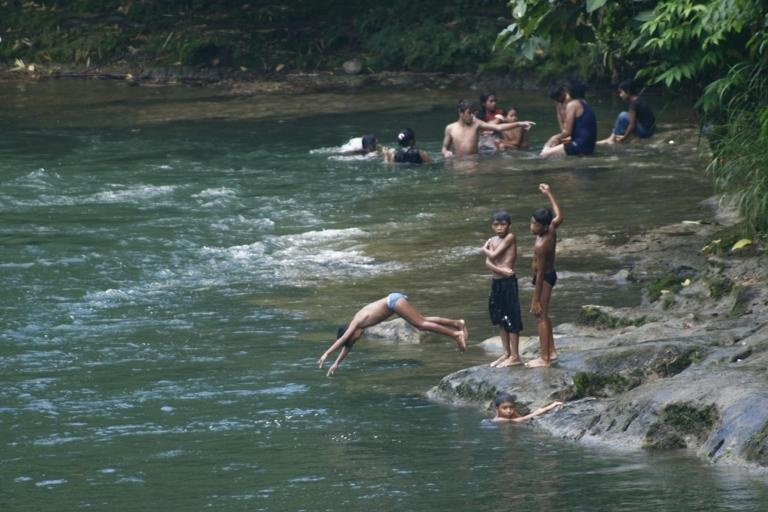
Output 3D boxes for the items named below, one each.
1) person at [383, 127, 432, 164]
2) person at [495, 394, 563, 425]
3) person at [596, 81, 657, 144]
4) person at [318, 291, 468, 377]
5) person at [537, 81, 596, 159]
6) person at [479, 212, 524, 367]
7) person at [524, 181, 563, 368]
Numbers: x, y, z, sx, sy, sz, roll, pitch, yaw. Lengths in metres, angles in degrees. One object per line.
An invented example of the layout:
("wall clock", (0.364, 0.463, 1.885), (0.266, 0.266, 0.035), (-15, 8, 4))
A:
("person", (0.502, -2.631, 41.523), (1.736, 0.773, 0.765), (2, 13, 35))
("person", (2.394, 2.594, 28.885), (1.129, 0.340, 0.489), (-14, -5, 16))
("person", (6.118, -3.590, 42.076), (1.219, 1.555, 1.183), (-1, 8, 7))
("person", (0.120, 1.359, 30.370), (2.836, 1.099, 0.714), (-9, -12, 23))
("person", (4.457, -3.286, 40.572), (1.156, 1.838, 0.845), (1, 9, 21))
("person", (2.058, 0.614, 29.657), (0.609, 2.715, 0.548), (-2, 9, 0))
("person", (2.770, 0.373, 29.541), (0.578, 3.176, 0.714), (0, 9, 14))
